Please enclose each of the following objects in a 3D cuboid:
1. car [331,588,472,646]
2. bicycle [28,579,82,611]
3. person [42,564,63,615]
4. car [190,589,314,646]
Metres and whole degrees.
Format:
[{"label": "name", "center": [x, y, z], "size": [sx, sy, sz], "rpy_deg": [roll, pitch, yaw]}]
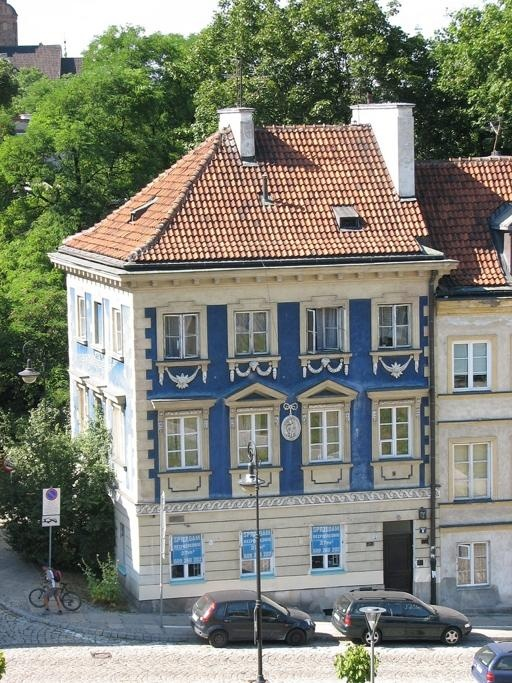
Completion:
[{"label": "car", "center": [4.579, 9.166, 75.626], "size": [3.847, 1.573, 1.951], "rpy_deg": [-1, 8, -10]}, {"label": "bicycle", "center": [-6.488, 8.381, 76.904], "size": [1.696, 1.137, 0.797], "rpy_deg": [3, -5, -2]}, {"label": "person", "center": [-6.468, 8.098, 76.335], "size": [0.612, 1.557, 1.437], "rpy_deg": [0, -6, -6]}, {"label": "car", "center": [-0.120, 8.874, 74.801], "size": [2.984, 1.543, 1.862], "rpy_deg": [-2, 5, -10]}]
